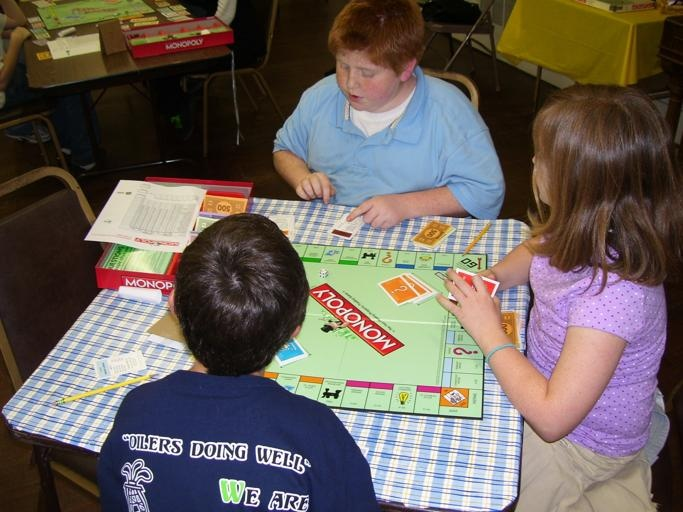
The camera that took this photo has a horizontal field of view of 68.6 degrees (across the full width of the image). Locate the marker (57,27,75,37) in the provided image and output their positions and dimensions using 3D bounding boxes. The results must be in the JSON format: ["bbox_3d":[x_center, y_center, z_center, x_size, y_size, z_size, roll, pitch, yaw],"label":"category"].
[{"bbox_3d":[-2.000,-1.608,3.645,0.130,0.038,0.079,-12,62,-17],"label":"marker"}]

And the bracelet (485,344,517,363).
[{"bbox_3d":[0.411,0.247,1.290,0.053,0.056,0.013,-17,50,-32],"label":"bracelet"}]

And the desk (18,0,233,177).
[{"bbox_3d":[-1.468,-1.075,3.539,1.045,0.676,1.086,-11,44,-15],"label":"desk"}]
